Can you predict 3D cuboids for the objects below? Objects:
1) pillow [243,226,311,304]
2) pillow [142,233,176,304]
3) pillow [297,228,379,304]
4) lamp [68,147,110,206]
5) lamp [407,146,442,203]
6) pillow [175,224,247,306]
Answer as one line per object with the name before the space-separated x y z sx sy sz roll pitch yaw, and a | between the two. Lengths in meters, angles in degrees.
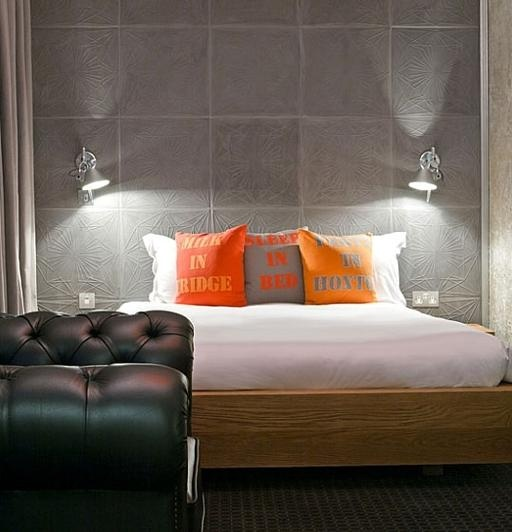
pillow | 0.114 0.015 3.033 0.449 0.495 0.195 0 -29 -4
pillow | -0.584 0.008 3.238 0.188 0.409 0.361 -1 1 -12
pillow | 0.476 0.022 3.054 0.489 0.425 0.166 -2 0 -23
lamp | -1.046 -0.547 3.380 0.222 0.297 0.175 4 1 -29
lamp | 1.108 -0.605 3.476 0.233 0.359 0.156 -1 1 4
pillow | -0.253 0.014 2.985 0.474 0.419 0.169 -3 -11 15
